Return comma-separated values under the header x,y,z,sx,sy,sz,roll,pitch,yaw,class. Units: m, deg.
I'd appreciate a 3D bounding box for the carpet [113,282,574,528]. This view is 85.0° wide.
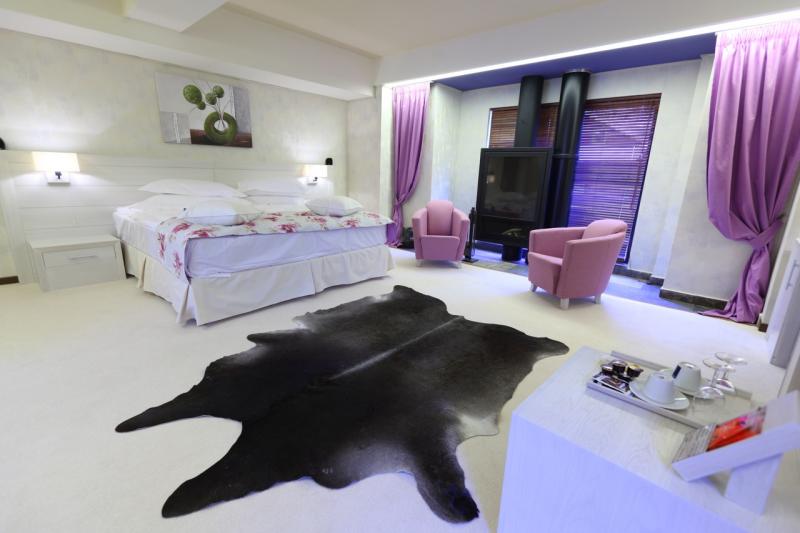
x,y,z,sx,sy,sz,roll,pitch,yaw,class
-0.262,1.060,3.438,2.978,0.591,2.191,-7,18,-28,carpet

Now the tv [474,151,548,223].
x,y,z,sx,sy,sz,roll,pitch,yaw,class
1.647,-1.149,6.282,0.995,1.127,0.048,13,23,34,tv

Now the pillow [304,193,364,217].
x,y,z,sx,sy,sz,roll,pitch,yaw,class
-0.744,-0.699,5.254,0.397,0.157,0.363,7,11,11,pillow

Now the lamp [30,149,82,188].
x,y,z,sx,sy,sz,roll,pitch,yaw,class
-3.686,-1.047,4.690,0.378,0.357,0.252,-12,22,-37,lamp

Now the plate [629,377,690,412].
x,y,z,sx,sy,sz,roll,pitch,yaw,class
1.506,0.731,2.518,0.238,0.089,0.229,2,12,8,plate

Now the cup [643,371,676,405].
x,y,z,sx,sy,sz,roll,pitch,yaw,class
1.513,0.696,2.554,0.171,0.109,0.167,2,5,0,cup

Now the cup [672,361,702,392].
x,y,z,sx,sy,sz,roll,pitch,yaw,class
1.737,0.650,2.651,0.174,0.114,0.169,-1,2,0,cup

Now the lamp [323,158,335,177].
x,y,z,sx,sy,sz,roll,pitch,yaw,class
-1.145,-1.610,7.105,0.131,0.336,0.219,0,18,-5,lamp

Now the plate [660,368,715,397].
x,y,z,sx,sy,sz,roll,pitch,yaw,class
1.734,0.693,2.649,0.236,0.081,0.223,0,8,-3,plate

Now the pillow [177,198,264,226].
x,y,z,sx,sy,sz,roll,pitch,yaw,class
-1.764,-0.518,4.226,0.419,0.135,0.450,4,11,8,pillow

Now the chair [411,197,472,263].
x,y,z,sx,sy,sz,roll,pitch,yaw,class
0.554,-0.497,6.024,0.804,0.866,0.893,1,11,3,chair
